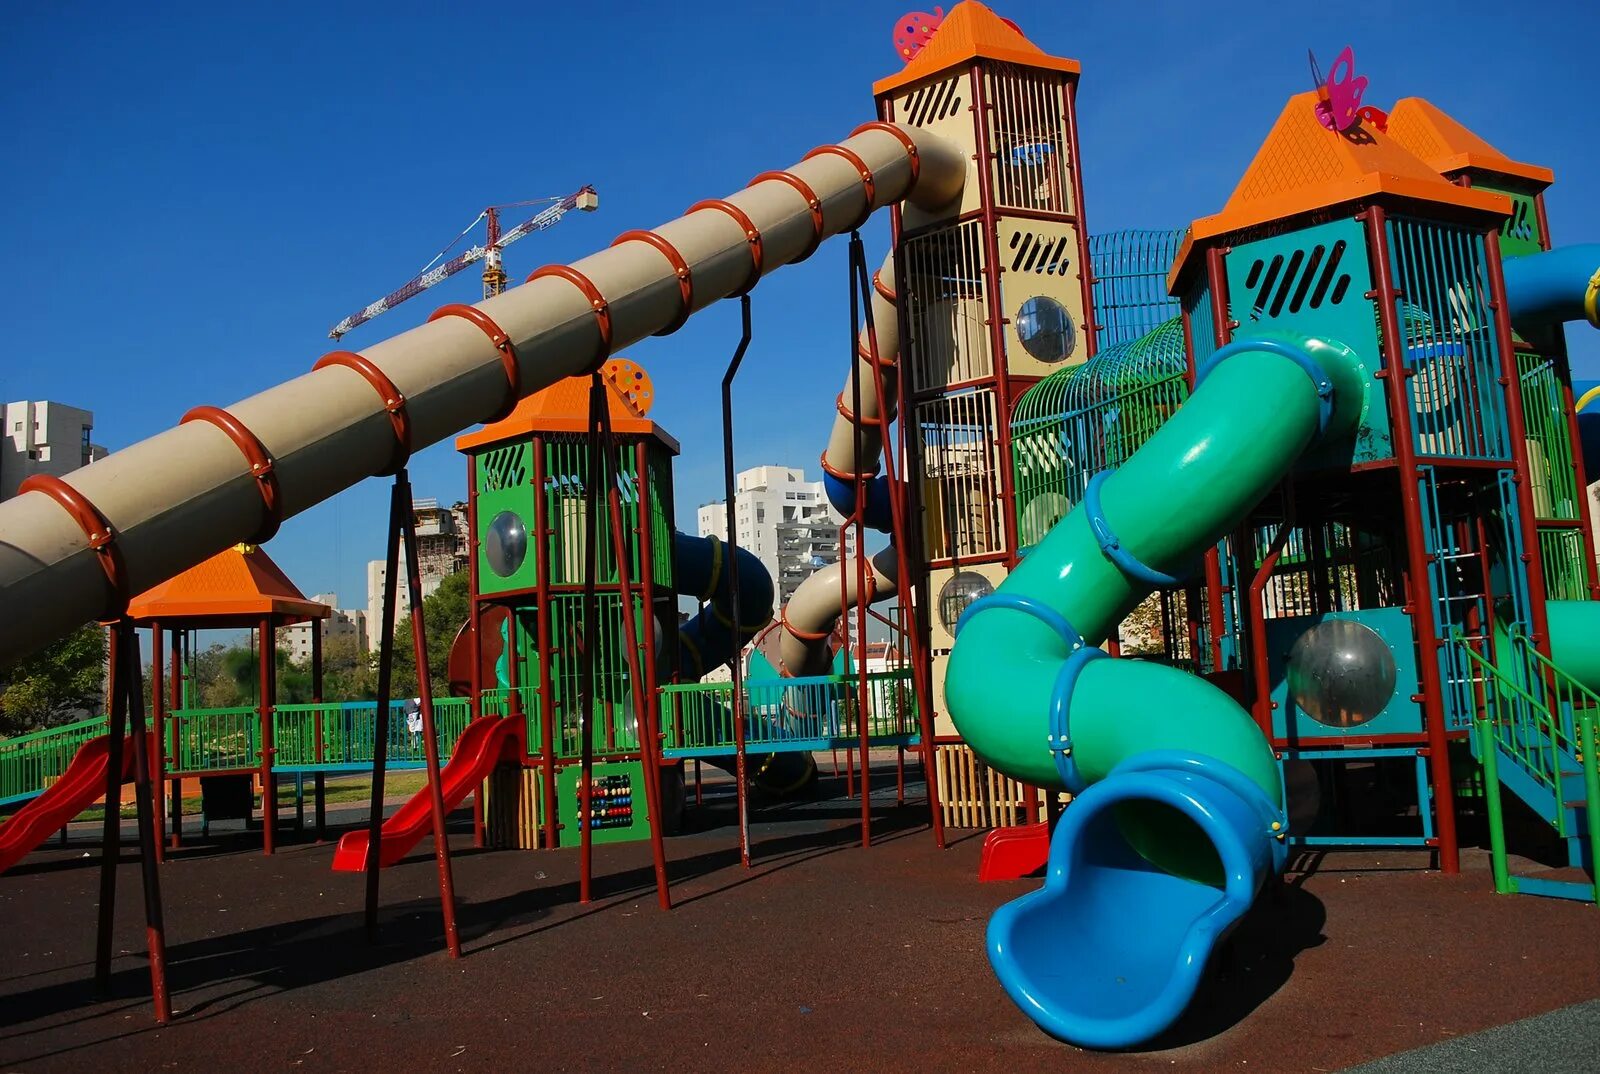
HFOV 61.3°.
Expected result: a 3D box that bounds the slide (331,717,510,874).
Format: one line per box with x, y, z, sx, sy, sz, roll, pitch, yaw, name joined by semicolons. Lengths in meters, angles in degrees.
-4.673;3.283;17.337;0.526;1.593;2.647;-4;0;37;slide
